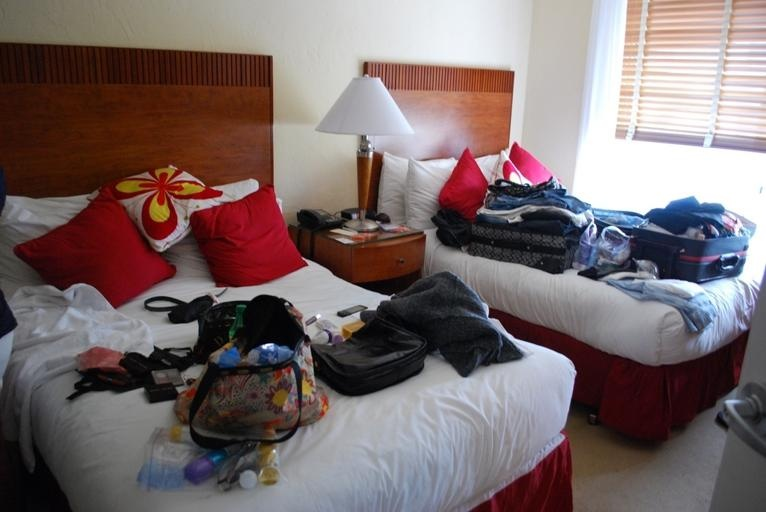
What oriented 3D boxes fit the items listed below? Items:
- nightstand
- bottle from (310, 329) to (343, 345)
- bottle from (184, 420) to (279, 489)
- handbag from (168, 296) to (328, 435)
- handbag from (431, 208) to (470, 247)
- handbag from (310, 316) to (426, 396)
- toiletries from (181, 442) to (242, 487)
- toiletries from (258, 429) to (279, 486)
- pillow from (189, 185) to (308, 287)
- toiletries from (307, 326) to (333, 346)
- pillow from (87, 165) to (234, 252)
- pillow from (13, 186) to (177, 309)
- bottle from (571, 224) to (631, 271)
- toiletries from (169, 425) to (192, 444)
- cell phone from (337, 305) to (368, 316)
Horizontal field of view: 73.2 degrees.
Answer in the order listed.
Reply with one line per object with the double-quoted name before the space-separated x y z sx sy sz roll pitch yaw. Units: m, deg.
"nightstand" -0.163 -0.055 3.670 0.544 0.574 0.600 -16 25 -39
"bottle" -0.261 0.377 2.406 0.097 0.036 0.075 -10 16 -39
"bottle" -0.519 0.681 1.773 0.206 0.082 0.159 -5 13 -25
"handbag" -0.470 0.486 1.941 0.452 0.258 0.568 5 28 -10
"handbag" 0.495 -0.204 3.739 0.220 0.122 0.285 -7 32 -12
"handbag" -0.051 0.442 2.208 0.345 0.122 0.342 -19 25 -30
"toiletries" -0.601 0.721 1.836 0.215 0.066 0.067 -19 58 -43
"toiletries" -0.401 0.730 1.799 0.064 0.046 0.109 -4 26 -21
"pillow" -0.820 -0.064 3.160 0.173 0.559 0.602 -18 5 34
"toiletries" -0.290 0.375 2.410 0.073 0.029 0.077 5 12 25
"pillow" -1.274 -0.304 2.975 0.503 0.176 0.522 42 42 16
"pillow" -1.507 -0.043 2.764 0.446 0.488 0.637 13 26 23
"bottle" 1.406 -0.047 3.292 0.326 0.257 0.347 -9 60 17
"toiletries" -0.745 0.651 1.876 0.059 0.044 0.060 2 4 -1
"cell phone" -0.165 0.284 2.693 0.059 0.016 0.118 9 15 43
